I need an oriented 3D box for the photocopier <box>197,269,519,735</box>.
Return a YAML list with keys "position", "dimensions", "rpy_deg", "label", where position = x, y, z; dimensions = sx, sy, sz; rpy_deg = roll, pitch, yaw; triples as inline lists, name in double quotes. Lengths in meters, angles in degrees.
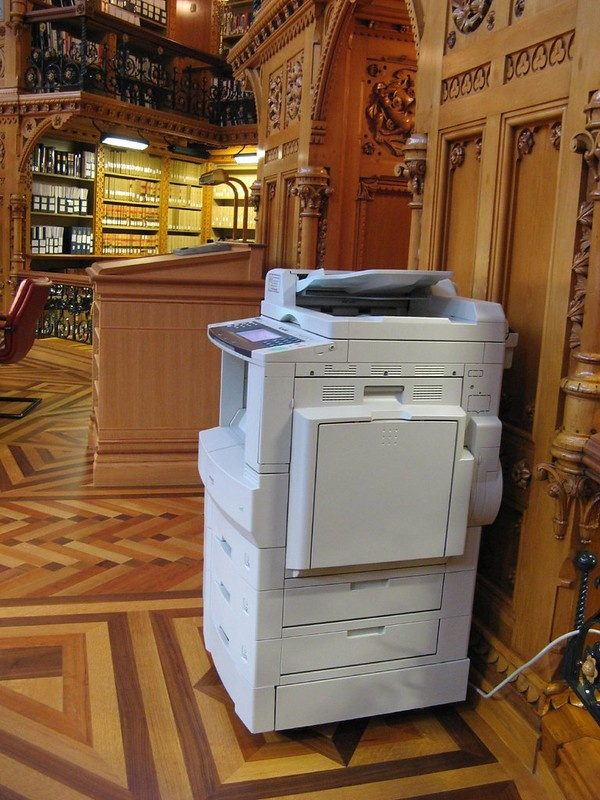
- position: [0.162, 0.160, 2.399]
  dimensions: [1.160, 1.695, 1.128]
  rpy_deg: [-1, 11, -11]
  label: "photocopier"
